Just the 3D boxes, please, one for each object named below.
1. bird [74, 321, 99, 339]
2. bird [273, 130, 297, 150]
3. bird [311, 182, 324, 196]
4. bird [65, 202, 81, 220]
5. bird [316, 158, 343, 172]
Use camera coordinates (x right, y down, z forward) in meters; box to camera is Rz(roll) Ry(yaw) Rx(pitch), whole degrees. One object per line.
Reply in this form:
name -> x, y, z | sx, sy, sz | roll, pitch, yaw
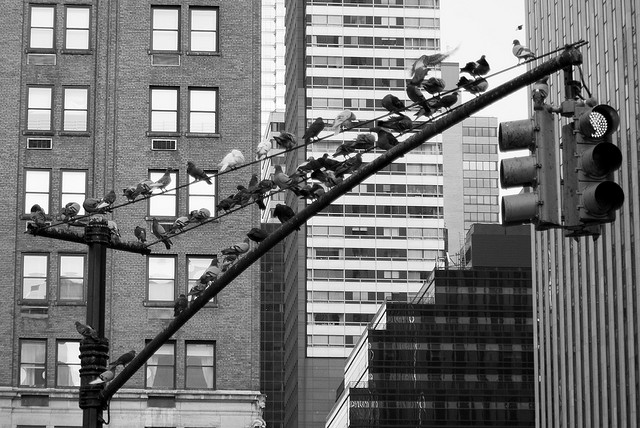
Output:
bird -> -12.380, 6.295, 109.355 | 0.740, 1.126, 1.494 | 14, -25, -35
bird -> -1.500, -3.979, 107.588 | 1.084, 0.678, 1.077 | -10, -4, -36
bird -> -0.073, -1.206, 106.642 | 0.517, 0.630, 0.665 | 12, -7, -4
bird -> -13.773, -0.188, 115.909 | 0.544, 1.612, 0.705 | -3, -53, -8
bird -> 0.458, -2.643, 106.081 | 1.293, 0.797, 0.453 | -18, 0, -29
